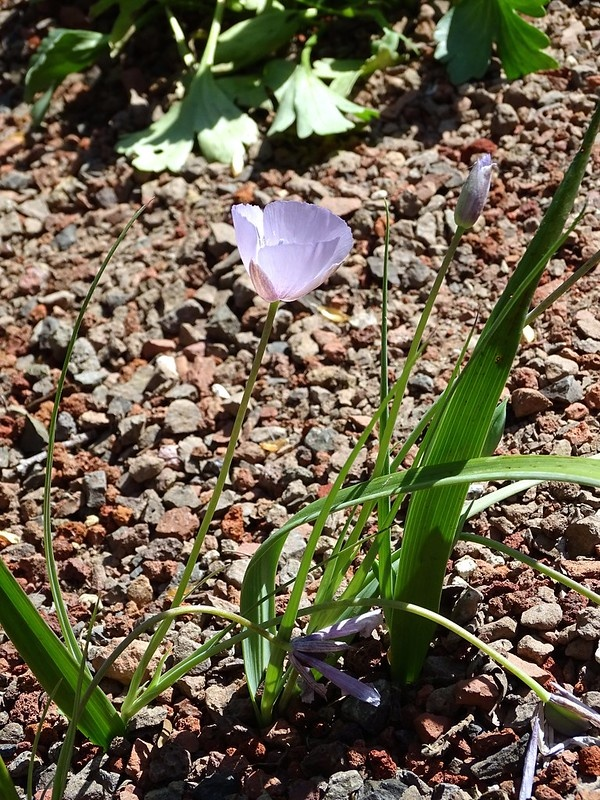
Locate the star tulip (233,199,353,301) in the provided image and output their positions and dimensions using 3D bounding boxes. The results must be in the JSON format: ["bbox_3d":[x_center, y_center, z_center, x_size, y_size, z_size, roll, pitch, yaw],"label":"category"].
[{"bbox_3d":[-0.005,-0.150,0.814,0.109,0.096,0.114,6,27,1],"label":"star tulip"}]
